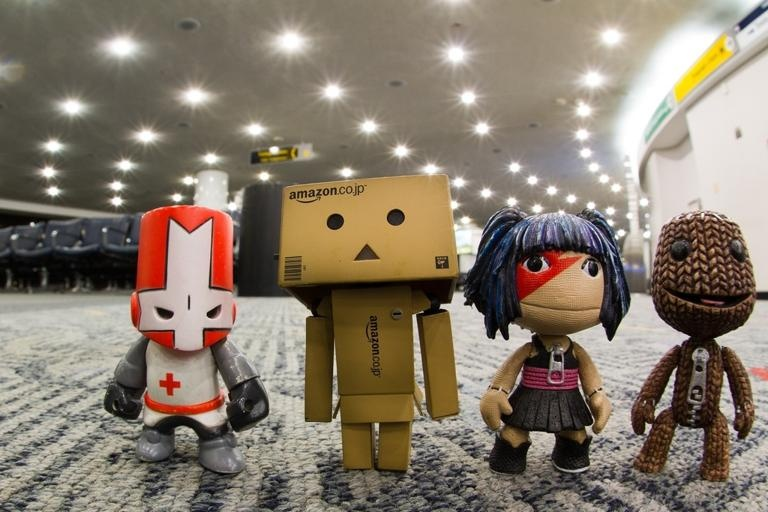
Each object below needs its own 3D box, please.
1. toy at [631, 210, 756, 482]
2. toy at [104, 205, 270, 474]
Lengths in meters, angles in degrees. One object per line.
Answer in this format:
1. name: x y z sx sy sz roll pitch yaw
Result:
1. toy: 1.159 0.328 2.076 0.435 0.979 0.218 0 1 18
2. toy: -0.736 0.306 2.132 0.628 0.988 0.230 0 1 15
